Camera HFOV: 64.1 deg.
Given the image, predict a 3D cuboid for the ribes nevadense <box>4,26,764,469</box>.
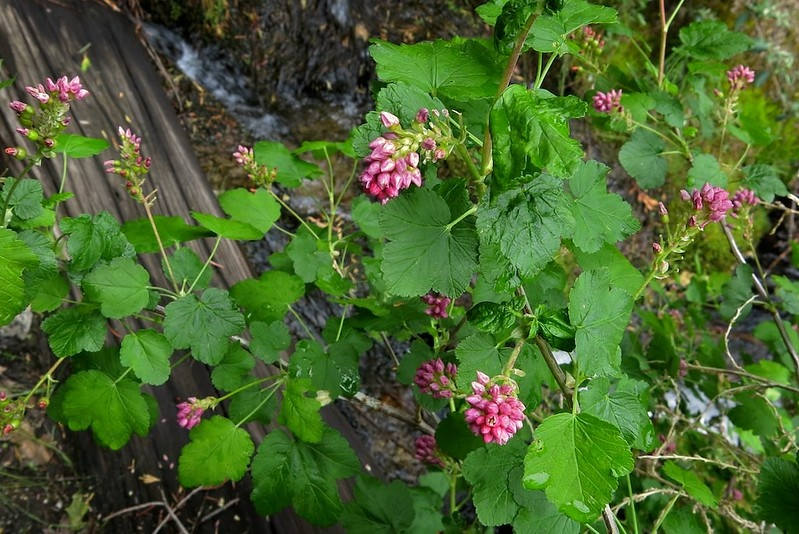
[{"bbox_3d":[-0.188,-0.053,2.906,2.044,2.228,0.792,-15,-16,-6],"label":"ribes nevadense"}]
